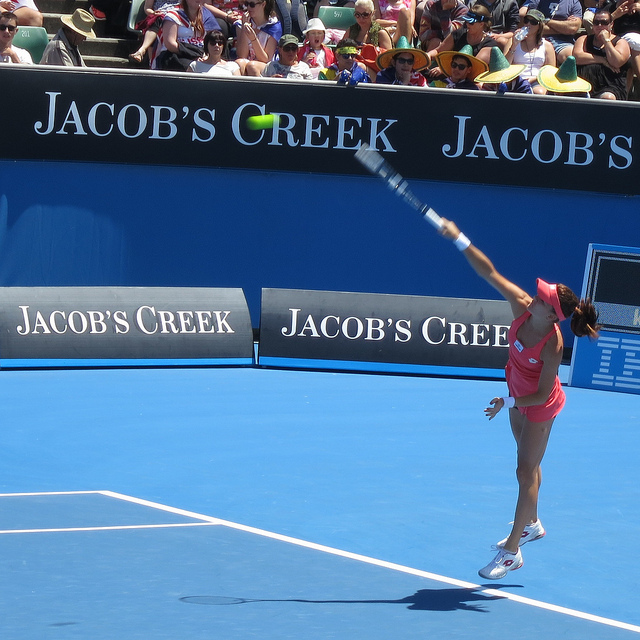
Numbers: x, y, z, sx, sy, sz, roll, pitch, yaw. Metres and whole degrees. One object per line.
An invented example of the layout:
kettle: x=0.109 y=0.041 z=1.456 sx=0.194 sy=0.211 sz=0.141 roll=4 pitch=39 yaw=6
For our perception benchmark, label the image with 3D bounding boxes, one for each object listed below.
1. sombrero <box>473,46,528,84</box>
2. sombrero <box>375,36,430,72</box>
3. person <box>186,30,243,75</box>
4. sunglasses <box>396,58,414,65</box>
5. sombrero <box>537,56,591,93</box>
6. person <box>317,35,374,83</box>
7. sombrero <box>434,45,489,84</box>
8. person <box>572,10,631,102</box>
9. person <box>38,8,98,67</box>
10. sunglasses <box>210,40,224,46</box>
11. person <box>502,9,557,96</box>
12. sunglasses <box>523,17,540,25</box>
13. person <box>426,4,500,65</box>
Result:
sombrero: x=1.873 y=-2.701 z=15.086 sx=0.523 sy=0.383 sz=0.598 roll=1 pitch=6 yaw=7
sombrero: x=0.882 y=-2.887 z=15.568 sx=0.423 sy=0.194 sz=0.428 roll=2 pitch=-12 yaw=-11
person: x=-1.183 y=-2.949 z=15.729 sx=0.546 sy=0.471 sz=0.864 roll=2 pitch=6 yaw=13
sunglasses: x=0.927 y=-2.823 z=15.476 sx=0.186 sy=0.065 sz=0.066 roll=-2 pitch=6 yaw=-22
sombrero: x=2.563 y=-2.610 z=15.176 sx=0.382 sy=0.352 sz=0.761 roll=-2 pitch=6 yaw=-29
person: x=0.283 y=-2.883 z=15.893 sx=0.735 sy=0.476 sz=0.758 roll=1 pitch=7 yaw=1
sombrero: x=1.427 y=-2.814 z=15.516 sx=0.409 sy=0.411 sz=0.188 roll=-9 pitch=-21 yaw=-16
person: x=3.176 y=-2.897 z=16.081 sx=0.604 sy=0.813 sz=1.176 roll=1 pitch=6 yaw=1
person: x=-2.708 y=-3.056 z=15.304 sx=0.543 sy=0.676 sz=0.929 roll=0 pitch=6 yaw=-9
sunglasses: x=-1.136 y=-3.038 z=15.544 sx=0.070 sy=0.024 sz=0.071 roll=4 pitch=-30 yaw=-13
person: x=2.373 y=-3.072 z=16.326 sx=0.620 sy=1.016 sz=1.490 roll=1 pitch=6 yaw=9
sunglasses: x=2.353 y=-3.417 z=16.212 sx=0.208 sy=0.080 sz=0.111 roll=6 pitch=7 yaw=41
person: x=1.713 y=-3.306 z=16.408 sx=0.692 sy=0.740 sz=0.985 roll=-3 pitch=7 yaw=-33
